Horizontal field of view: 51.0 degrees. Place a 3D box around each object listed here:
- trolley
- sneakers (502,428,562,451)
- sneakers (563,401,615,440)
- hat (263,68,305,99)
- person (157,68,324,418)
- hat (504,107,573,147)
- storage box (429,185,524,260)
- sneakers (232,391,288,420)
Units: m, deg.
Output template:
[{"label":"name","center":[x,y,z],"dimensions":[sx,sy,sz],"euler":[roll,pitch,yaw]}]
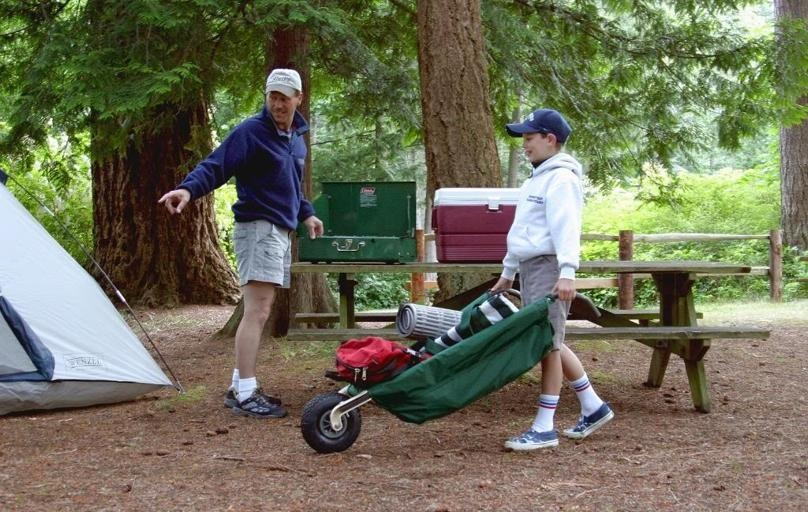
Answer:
[{"label":"trolley","center":[0.305,0.856,7.292],"dimensions":[2.601,1.027,1.075],"euler":[-15,4,-12]},{"label":"sneakers","center":[1.081,1.576,7.198],"dimensions":[0.498,0.161,0.170],"euler":[0,-6,-10]},{"label":"sneakers","center":[1.585,1.448,7.374],"dimensions":[0.538,0.210,0.208],"euler":[-32,7,7]},{"label":"hat","center":[-1.076,-1.549,7.590],"dimensions":[0.299,0.261,0.156],"euler":[-3,7,-11]},{"label":"person","center":[-1.327,-0.109,7.696],"dimensions":[1.357,3.130,0.590],"euler":[-5,7,-22]},{"label":"hat","center":[1.168,-1.114,7.330],"dimensions":[0.519,0.238,0.298],"euler":[14,6,2]},{"label":"storage box","center":[0.709,-0.192,8.312],"dimensions":[1.108,0.647,0.645],"euler":[0,4,-1]},{"label":"sneakers","center":[-1.283,1.375,7.749],"dimensions":[0.575,0.232,0.193],"euler":[2,-4,-1]}]
